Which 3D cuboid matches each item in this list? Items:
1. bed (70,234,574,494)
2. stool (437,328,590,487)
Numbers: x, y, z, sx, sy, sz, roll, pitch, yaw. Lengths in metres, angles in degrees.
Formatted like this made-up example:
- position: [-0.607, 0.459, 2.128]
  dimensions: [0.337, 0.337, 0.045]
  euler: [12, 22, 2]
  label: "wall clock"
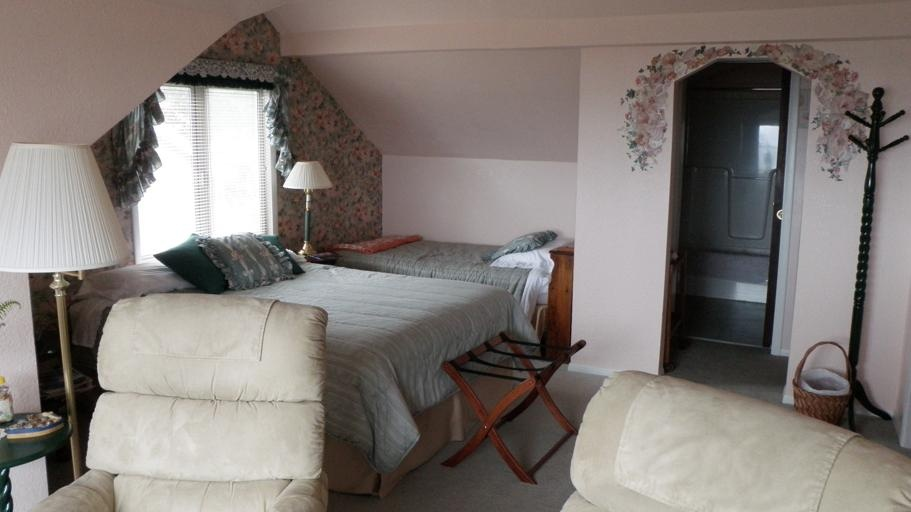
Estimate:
- position: [-0.872, 0.742, 4.850]
  dimensions: [2.908, 1.000, 1.980]
  euler: [4, 13, 23]
  label: "bed"
- position: [0.454, 1.039, 4.864]
  dimensions: [1.046, 0.974, 1.241]
  euler: [2, 6, 28]
  label: "stool"
